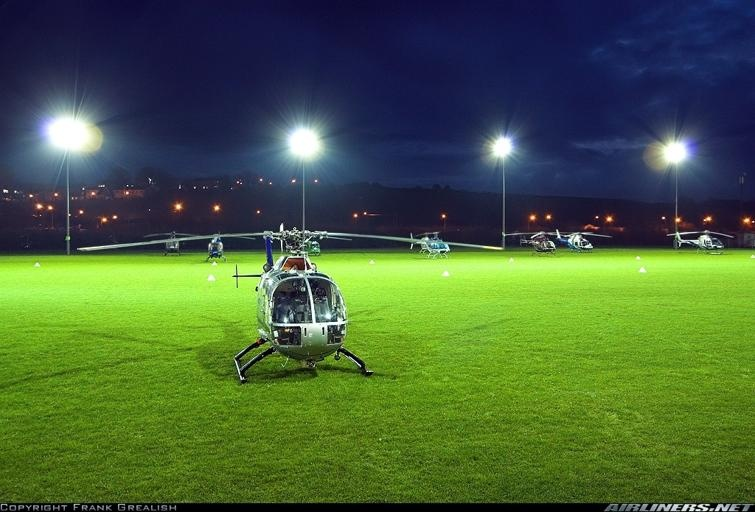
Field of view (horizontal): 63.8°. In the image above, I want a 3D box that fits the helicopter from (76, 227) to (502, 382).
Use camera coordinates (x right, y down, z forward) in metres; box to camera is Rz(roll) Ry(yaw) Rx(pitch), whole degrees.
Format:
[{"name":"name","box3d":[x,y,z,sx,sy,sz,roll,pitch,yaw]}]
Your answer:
[{"name":"helicopter","box3d":[-2.573,0.750,17.564,2.815,3.348,8.893,-3,10,-11]}]
